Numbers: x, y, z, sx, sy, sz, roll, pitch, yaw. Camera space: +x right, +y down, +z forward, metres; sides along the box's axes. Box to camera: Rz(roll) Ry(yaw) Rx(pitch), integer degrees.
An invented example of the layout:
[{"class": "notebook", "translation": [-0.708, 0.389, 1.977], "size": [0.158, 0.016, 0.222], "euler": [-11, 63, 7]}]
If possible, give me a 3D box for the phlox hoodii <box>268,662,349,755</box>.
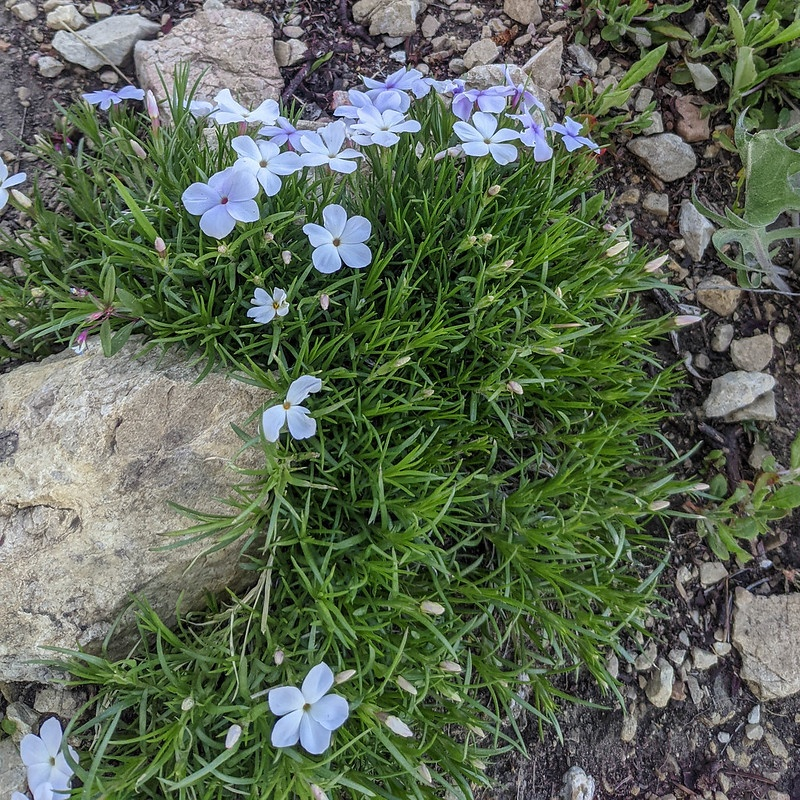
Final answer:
[{"class": "phlox hoodii", "translation": [-0.277, 0.914, 2.464], "size": [0.269, 0.231, 0.099], "euler": [-9, -71, 21]}]
